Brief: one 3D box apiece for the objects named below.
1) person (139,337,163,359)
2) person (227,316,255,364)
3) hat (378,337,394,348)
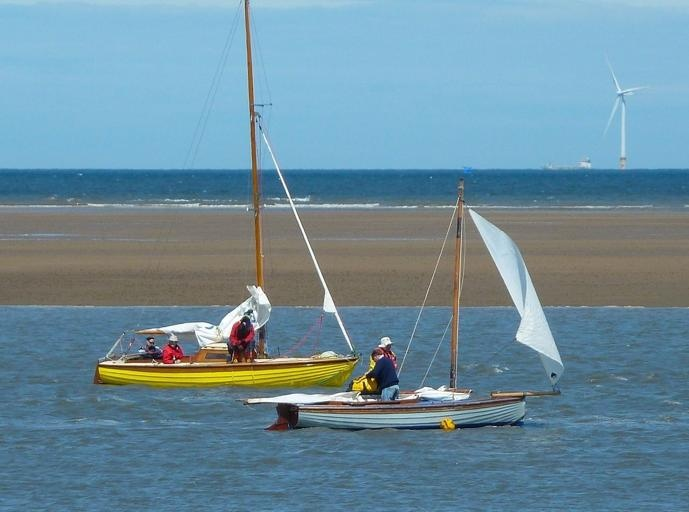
[{"bbox_3d":[-9.497,4.447,87.989,0.838,0.603,1.130,3,38,-13],"label":"person"},{"bbox_3d":[-5.023,3.923,86.707,1.228,2.104,0.687,0,9,-6],"label":"person"},{"bbox_3d":[1.729,3.938,83.280,0.569,0.459,0.433,7,0,4],"label":"hat"}]
